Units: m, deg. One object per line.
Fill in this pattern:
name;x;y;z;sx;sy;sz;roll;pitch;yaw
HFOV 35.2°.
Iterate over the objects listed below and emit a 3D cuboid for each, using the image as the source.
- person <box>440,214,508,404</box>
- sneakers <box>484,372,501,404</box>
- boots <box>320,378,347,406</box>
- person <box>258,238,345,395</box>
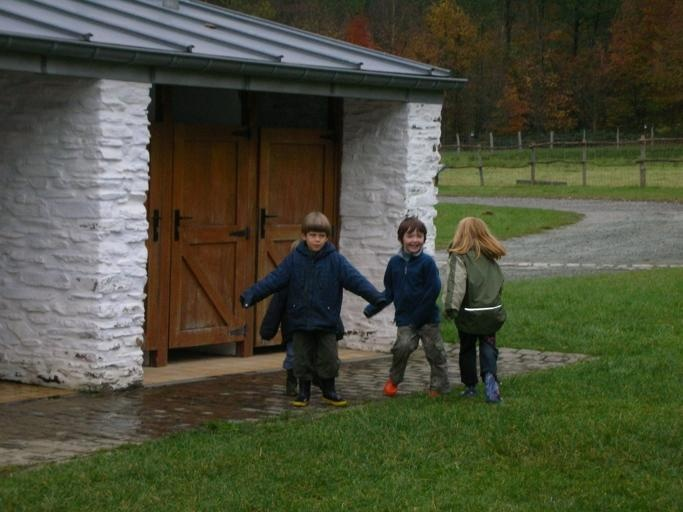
person;1.243;0.472;9.955;0.534;1.639;0.632;-2;5;16
sneakers;1.366;1.180;9.760;0.143;0.247;0.177;-3;5;7
boots;-0.098;1.270;10.059;0.316;0.320;0.147;-3;-1;26
person;-0.272;0.473;10.257;1.025;2.014;0.478;2;23;2
